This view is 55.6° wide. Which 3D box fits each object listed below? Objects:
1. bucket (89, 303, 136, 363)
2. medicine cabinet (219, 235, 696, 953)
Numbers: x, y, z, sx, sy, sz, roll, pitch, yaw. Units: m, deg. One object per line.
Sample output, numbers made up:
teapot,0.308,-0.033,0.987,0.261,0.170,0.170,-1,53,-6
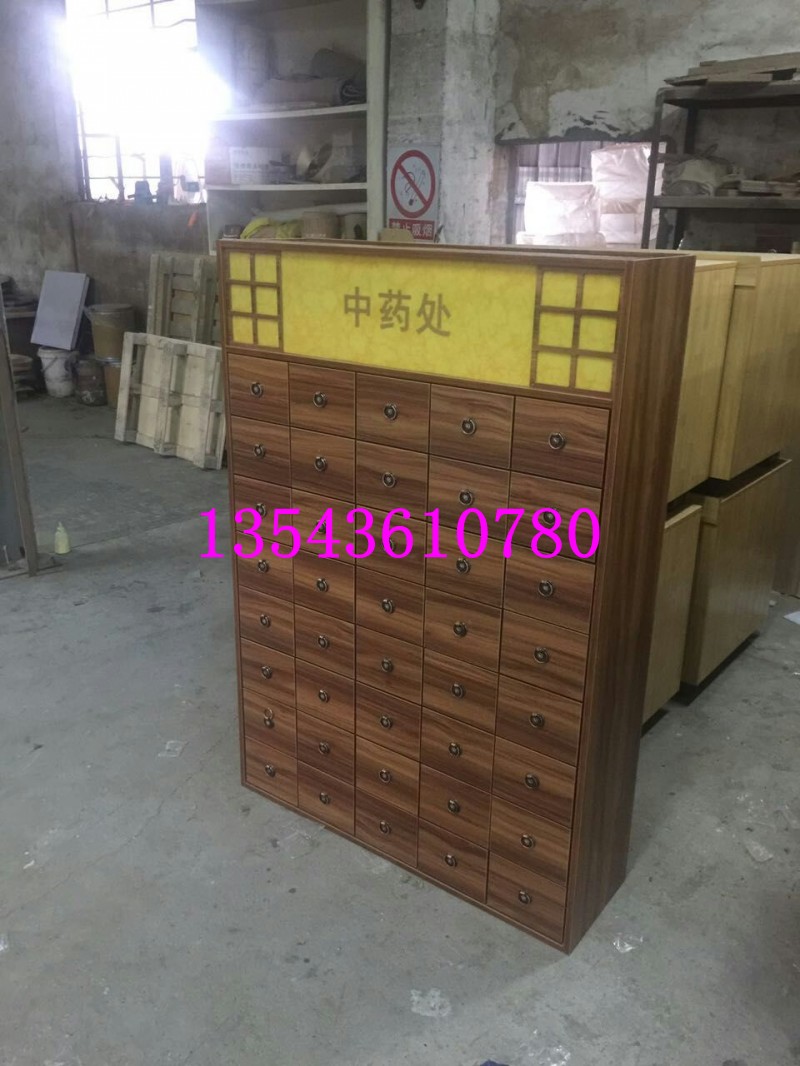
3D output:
bucket,-3.447,-2.392,9.061,0.520,0.677,0.422,-4,14,-21
medicine cabinet,0.087,0.152,2.244,1.332,1.977,0.446,12,17,40
